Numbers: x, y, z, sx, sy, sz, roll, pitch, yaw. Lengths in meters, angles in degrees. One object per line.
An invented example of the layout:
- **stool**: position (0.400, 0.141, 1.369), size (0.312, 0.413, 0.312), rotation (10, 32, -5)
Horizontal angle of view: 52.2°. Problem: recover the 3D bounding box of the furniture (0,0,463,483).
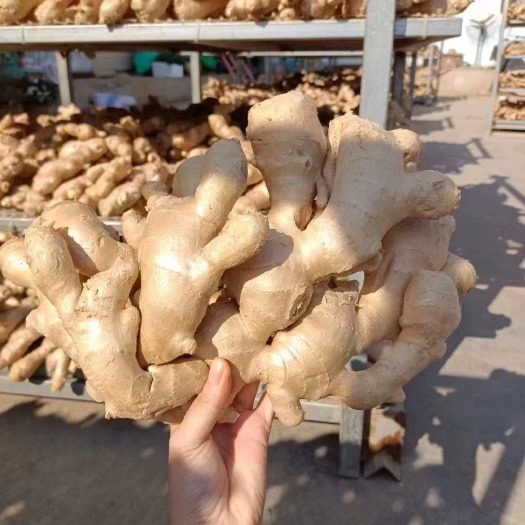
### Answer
- **furniture**: position (-0.001, 0.031, 1.284), size (0.872, 0.401, 0.813), rotation (30, 70, 4)
